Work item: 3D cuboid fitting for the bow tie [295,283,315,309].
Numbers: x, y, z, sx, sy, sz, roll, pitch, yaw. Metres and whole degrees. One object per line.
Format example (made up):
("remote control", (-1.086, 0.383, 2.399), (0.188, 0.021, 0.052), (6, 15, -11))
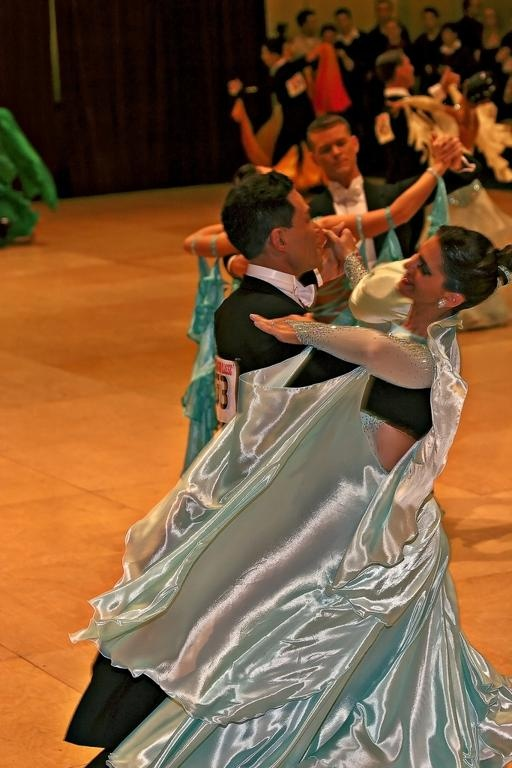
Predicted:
("bow tie", (0.116, -0.211, 1.652), (0.023, 0.059, 0.061), (-32, -4, 17))

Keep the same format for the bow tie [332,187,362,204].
("bow tie", (0.379, -0.783, 2.907), (0.085, 0.068, 0.029), (-21, 6, 17))
